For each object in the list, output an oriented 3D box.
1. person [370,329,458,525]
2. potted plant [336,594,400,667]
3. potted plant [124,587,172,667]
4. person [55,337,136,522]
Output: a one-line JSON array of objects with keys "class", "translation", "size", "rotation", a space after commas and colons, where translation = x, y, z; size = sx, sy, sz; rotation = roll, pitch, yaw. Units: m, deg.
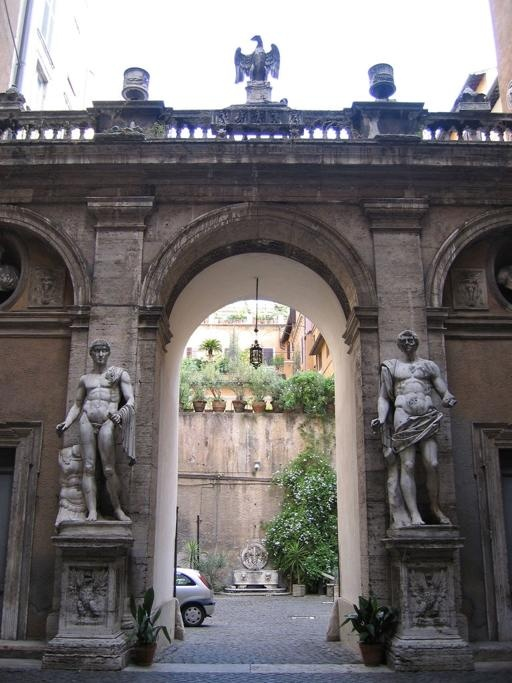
[{"class": "person", "translation": [1.684, 0.912, 8.305], "size": [0.825, 2.123, 0.558], "rotation": [-4, -17, 13]}, {"class": "potted plant", "translation": [1.102, 3.007, 7.967], "size": [0.539, 0.594, 0.533], "rotation": [-3, -11, 11]}, {"class": "potted plant", "translation": [-1.131, 2.974, 8.017], "size": [0.415, 0.709, 0.465], "rotation": [14, -19, -24]}, {"class": "person", "translation": [-1.724, 0.965, 8.333], "size": [0.833, 2.013, 0.755], "rotation": [1, -17, -3]}]
